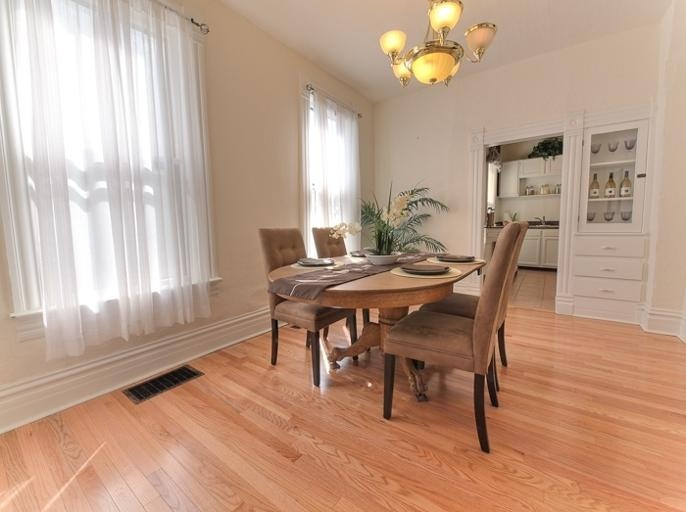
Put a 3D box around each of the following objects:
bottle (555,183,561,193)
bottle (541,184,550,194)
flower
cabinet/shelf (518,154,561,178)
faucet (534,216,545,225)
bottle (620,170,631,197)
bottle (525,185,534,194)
[{"bbox_3d":[3.797,-1.194,7.843,0.062,0.166,0.148,5,11,36],"label":"bottle"},{"bbox_3d":[3.601,-1.195,7.885,0.131,0.179,0.119,1,9,20],"label":"bottle"},{"bbox_3d":[0.288,-0.366,4.887,0.781,0.576,0.908,-1,9,28],"label":"flower"},{"bbox_3d":[3.465,-1.575,7.819,0.327,0.430,0.916,-16,16,-41],"label":"cabinet/shelf"},{"bbox_3d":[3.540,-0.652,7.968,0.164,0.127,0.153,2,9,26],"label":"faucet"},{"bbox_3d":[2.881,-0.744,4.505,0.101,0.265,0.048,3,10,28],"label":"bottle"},{"bbox_3d":[3.408,-1.212,8.077,0.163,0.162,0.152,2,9,25],"label":"bottle"}]
